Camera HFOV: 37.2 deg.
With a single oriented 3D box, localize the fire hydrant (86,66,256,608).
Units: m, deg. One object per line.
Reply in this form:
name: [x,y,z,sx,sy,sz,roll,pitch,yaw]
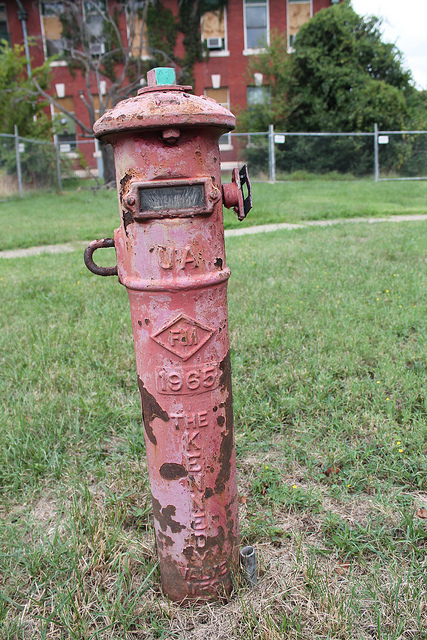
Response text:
fire hydrant: [-0.073,0.096,1.892,0.419,1.619,0.236,-6,13,-9]
